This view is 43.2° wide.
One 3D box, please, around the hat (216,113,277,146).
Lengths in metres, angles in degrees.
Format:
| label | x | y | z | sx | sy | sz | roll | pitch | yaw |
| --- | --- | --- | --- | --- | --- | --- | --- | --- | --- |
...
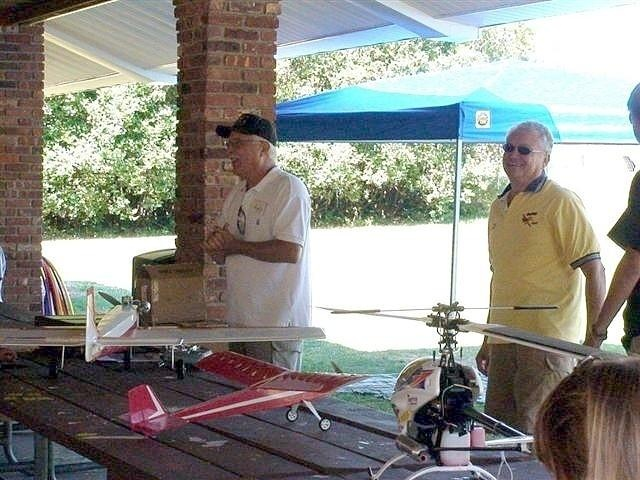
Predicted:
| label | x | y | z | sx | sy | sz | roll | pitch | yaw |
| --- | --- | --- | --- | --- | --- | --- | --- | --- | --- |
| hat | -0.466 | -0.746 | 5.468 | 0.417 | 0.157 | 0.255 | 4 | 0 | -13 |

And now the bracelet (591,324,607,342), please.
| label | x | y | z | sx | sy | sz | roll | pitch | yaw |
| --- | --- | --- | --- | --- | --- | --- | --- | --- | --- |
| bracelet | 1.547 | 0.530 | 4.521 | 0.107 | 0.078 | 0.070 | 1 | -4 | 10 |
